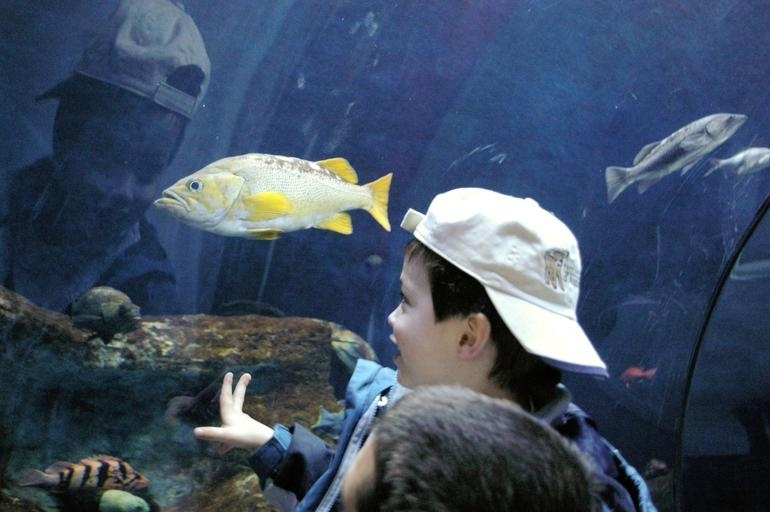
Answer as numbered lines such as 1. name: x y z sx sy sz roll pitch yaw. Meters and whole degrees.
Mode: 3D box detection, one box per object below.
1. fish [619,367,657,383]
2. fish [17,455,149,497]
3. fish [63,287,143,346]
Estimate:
1. fish: 2.672 1.236 7.680 0.280 0.175 0.071 -9 5 -2
2. fish: -2.538 1.828 6.204 1.010 0.316 0.154 8 -23 -6
3. fish: -2.379 0.498 6.294 0.549 0.366 0.366 13 -1 1
